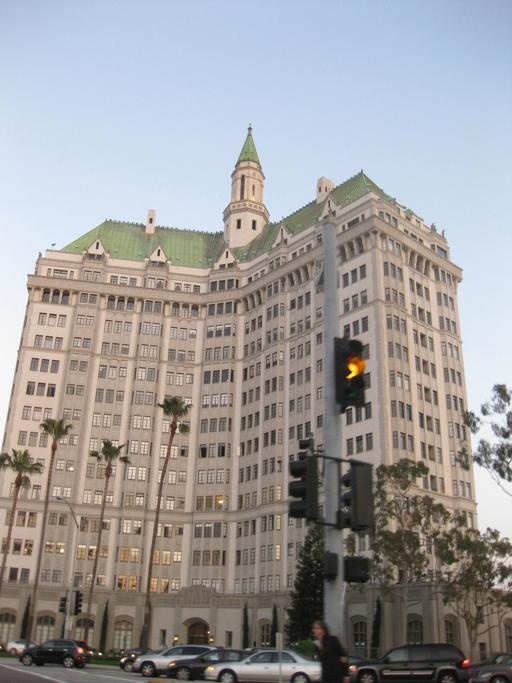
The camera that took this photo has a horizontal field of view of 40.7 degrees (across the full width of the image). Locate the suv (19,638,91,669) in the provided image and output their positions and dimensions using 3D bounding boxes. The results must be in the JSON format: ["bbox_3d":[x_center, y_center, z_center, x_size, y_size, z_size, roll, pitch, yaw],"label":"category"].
[{"bbox_3d":[-10.583,16.470,36.411,3.272,1.324,1.485,7,-23,-8],"label":"suv"}]

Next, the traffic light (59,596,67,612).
[{"bbox_3d":[-13.659,18.494,48.568,0.409,0.953,2.943,10,-23,-12],"label":"traffic light"}]

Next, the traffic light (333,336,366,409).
[{"bbox_3d":[1.127,0.346,8.342,0.377,1.096,0.569,1,-24,7],"label":"traffic light"}]

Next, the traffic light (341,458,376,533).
[{"bbox_3d":[1.245,1.884,8.494,0.415,0.920,1.108,1,-23,8],"label":"traffic light"}]

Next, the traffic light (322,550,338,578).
[{"bbox_3d":[0.872,2.600,8.004,0.165,0.293,0.311,2,-23,5],"label":"traffic light"}]

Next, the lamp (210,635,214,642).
[{"bbox_3d":[-4.310,28.949,67.134,0.426,0.508,0.271,2,-31,-7],"label":"lamp"}]
